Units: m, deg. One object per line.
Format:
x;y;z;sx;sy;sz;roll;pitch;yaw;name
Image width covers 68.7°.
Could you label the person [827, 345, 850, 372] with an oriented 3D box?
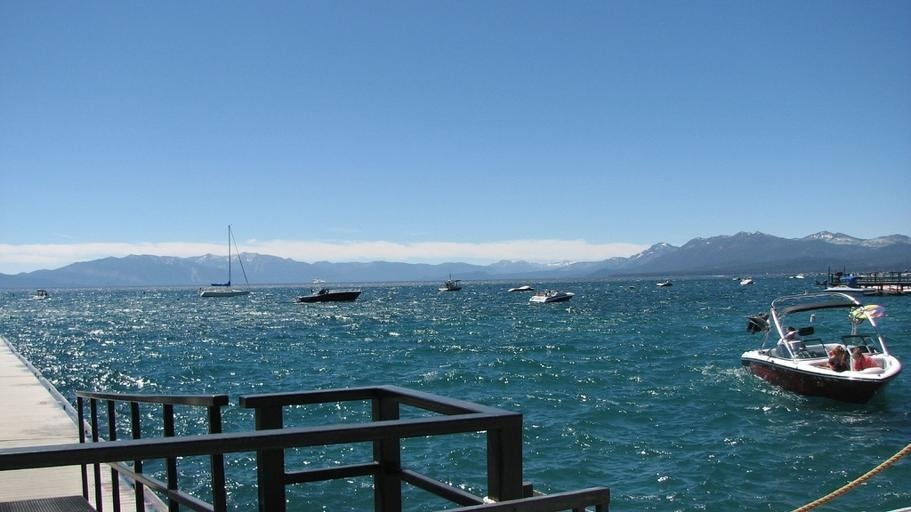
15.748;4.222;27.234;0.765;0.974;1.304;-4;-2;28;person
